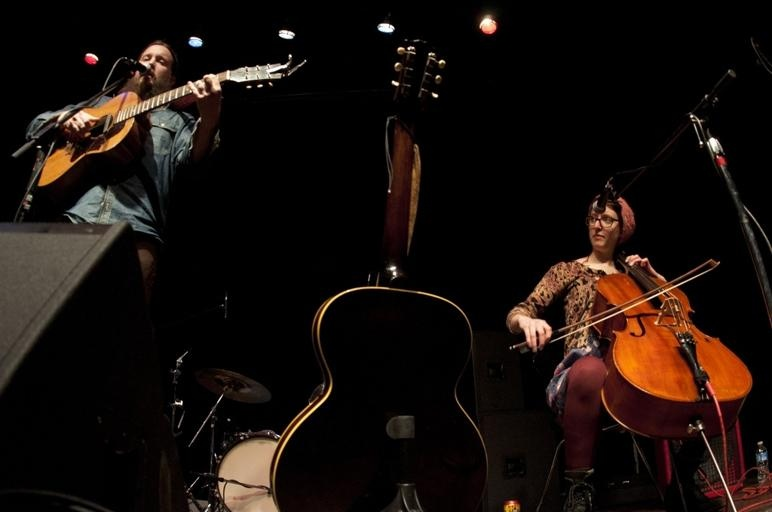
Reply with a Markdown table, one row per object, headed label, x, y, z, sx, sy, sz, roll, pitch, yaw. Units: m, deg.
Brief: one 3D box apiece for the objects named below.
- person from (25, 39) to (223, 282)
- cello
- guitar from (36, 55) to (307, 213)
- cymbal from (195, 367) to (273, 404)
| label | x | y | z | sx | sy | sz | roll | pitch | yaw |
| --- | --- | --- | --- | --- | --- | --- | --- | --- | --- |
| person | -1.399 | -0.435 | 3.826 | 1.068 | 1.439 | 0.900 | 1 | 3 | -13 |
| cello | 1.362 | 0.530 | 3.390 | 0.590 | 1.111 | 0.354 | 2 | -54 | -1 |
| guitar | -0.925 | -0.646 | 3.528 | 1.316 | 0.876 | 1.298 | 6 | 1 | -43 |
| cymbal | -1.019 | 0.908 | 4.495 | 0.514 | 0.131 | 0.432 | 2 | -27 | 5 |
